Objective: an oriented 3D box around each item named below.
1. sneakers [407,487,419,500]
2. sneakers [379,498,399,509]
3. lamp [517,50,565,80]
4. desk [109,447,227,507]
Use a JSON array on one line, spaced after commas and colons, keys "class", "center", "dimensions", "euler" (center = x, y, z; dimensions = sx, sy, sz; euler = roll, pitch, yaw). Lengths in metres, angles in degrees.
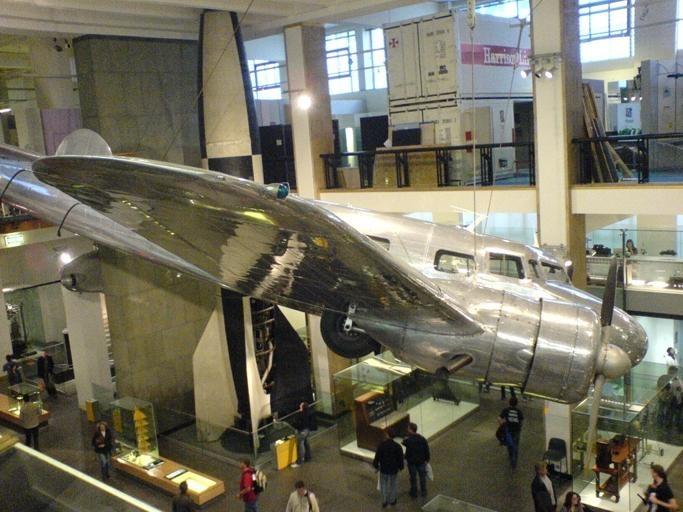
[{"class": "sneakers", "center": [1.565, 5.151, 13.635], "dimensions": [0.133, 0.249, 0.263], "euler": [-5, 16, -29]}, {"class": "sneakers", "center": [1.031, 5.232, 13.407], "dimensions": [0.378, 0.148, 0.212], "euler": [-5, 7, -8]}, {"class": "lamp", "center": [4.357, -4.055, 13.486], "dimensions": [0.675, 0.544, 0.249], "euler": [1, 9, 34]}, {"class": "desk", "center": [-3.956, 5.041, 14.535], "dimensions": [3.366, 0.530, 0.955], "euler": [10, 11, 35]}]
